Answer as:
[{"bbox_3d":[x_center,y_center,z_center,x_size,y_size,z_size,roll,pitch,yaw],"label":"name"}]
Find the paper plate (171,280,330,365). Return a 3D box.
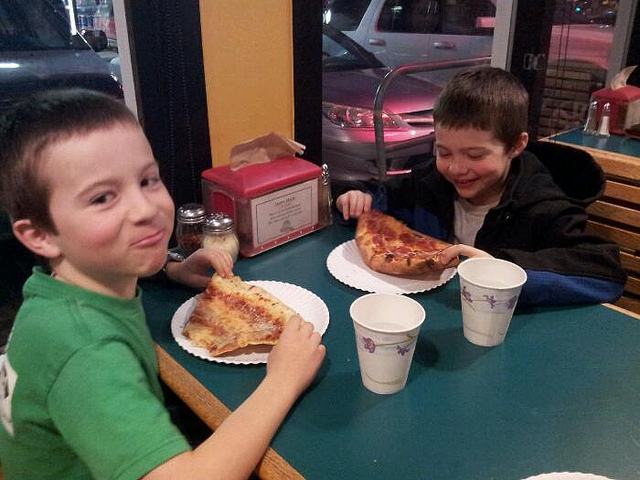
[{"bbox_3d":[-0.175,0.161,1.219,0.353,0.166,0.364,-10,16,-29],"label":"paper plate"}]

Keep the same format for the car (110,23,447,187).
[{"bbox_3d":[-0.162,-0.946,3.330,1.798,0.761,0.829,11,29,32],"label":"car"}]

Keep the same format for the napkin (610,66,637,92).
[{"bbox_3d":[1.521,-0.820,2.407,0.071,0.111,0.217,16,36,27],"label":"napkin"}]

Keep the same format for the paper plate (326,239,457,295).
[{"bbox_3d":[0.206,0.067,1.405,0.380,0.054,0.397,2,21,7],"label":"paper plate"}]
